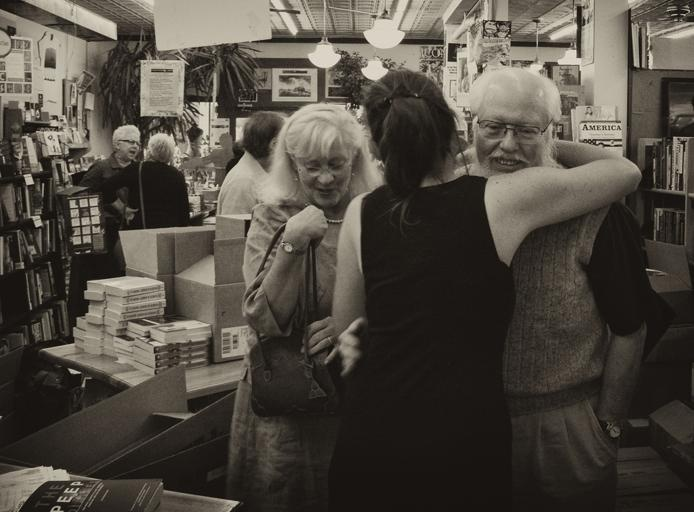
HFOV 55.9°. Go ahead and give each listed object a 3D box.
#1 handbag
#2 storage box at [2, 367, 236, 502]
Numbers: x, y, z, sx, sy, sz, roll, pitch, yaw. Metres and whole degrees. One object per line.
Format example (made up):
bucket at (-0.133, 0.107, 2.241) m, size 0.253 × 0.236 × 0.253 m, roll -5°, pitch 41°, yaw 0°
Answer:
handbag at (-0.128, 0.331, 1.876) m, size 0.293 × 0.291 × 0.207 m, roll -2°, pitch -11°, yaw 1°
storage box at (-0.670, 0.589, 2.071) m, size 0.477 × 0.167 × 0.501 m, roll 7°, pitch 18°, yaw 19°
